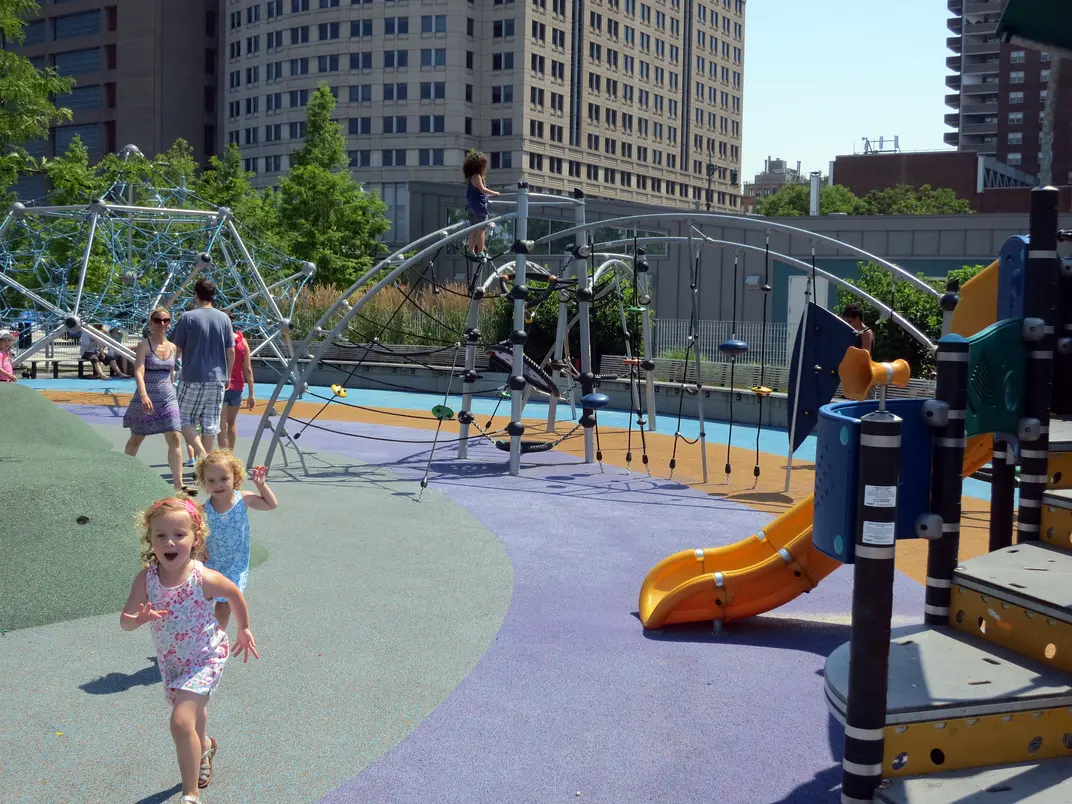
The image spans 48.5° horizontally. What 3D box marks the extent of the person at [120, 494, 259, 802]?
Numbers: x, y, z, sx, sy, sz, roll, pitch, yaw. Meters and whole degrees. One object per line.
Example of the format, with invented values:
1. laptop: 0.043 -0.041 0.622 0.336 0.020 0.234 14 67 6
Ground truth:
1. person: -1.846 1.276 6.241 0.648 1.566 0.567 1 5 -7

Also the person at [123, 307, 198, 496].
1. person: -3.812 -0.200 11.761 0.552 1.475 1.224 0 5 -20

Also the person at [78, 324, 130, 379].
1. person: -10.515 -1.297 28.755 1.238 1.489 0.599 2 15 -22
